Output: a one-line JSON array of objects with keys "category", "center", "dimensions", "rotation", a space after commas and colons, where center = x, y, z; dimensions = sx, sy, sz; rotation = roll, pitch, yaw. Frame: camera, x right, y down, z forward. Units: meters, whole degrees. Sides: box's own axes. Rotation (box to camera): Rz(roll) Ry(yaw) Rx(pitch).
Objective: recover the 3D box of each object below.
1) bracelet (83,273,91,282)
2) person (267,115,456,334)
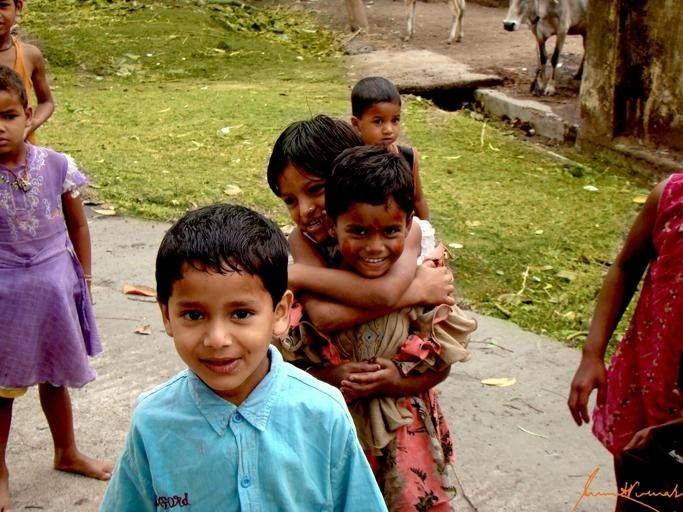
[{"category": "bracelet", "center": [-1.286, 0.114, 3.616], "dimensions": [0.035, 0.023, 0.032], "rotation": [-6, 20, -16]}, {"category": "person", "center": [0.067, -0.151, 2.980], "dimensions": [0.759, 0.784, 0.726], "rotation": [-11, -2, 5]}]
